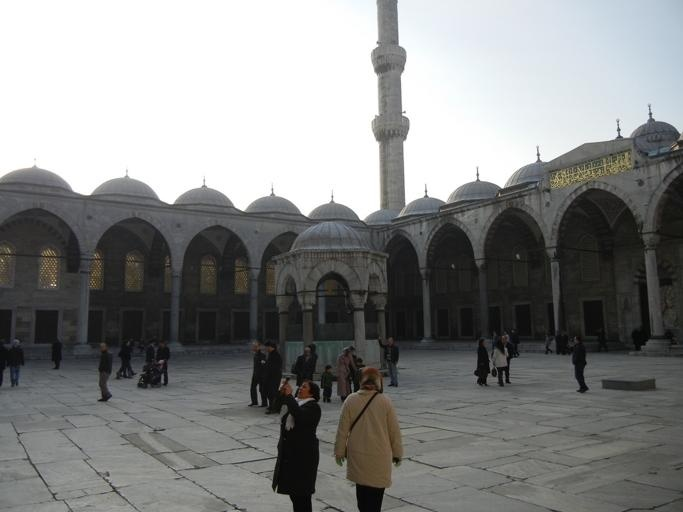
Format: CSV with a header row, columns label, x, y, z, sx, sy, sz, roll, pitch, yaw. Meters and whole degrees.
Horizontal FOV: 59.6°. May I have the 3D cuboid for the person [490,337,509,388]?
label,x,y,z,sx,sy,sz,roll,pitch,yaw
person,3.715,2.438,13.995,0.373,1.101,1.277,-2,-8,15

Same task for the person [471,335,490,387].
label,x,y,z,sx,sy,sz,roll,pitch,yaw
person,3.286,2.471,14.062,0.340,1.054,1.621,-2,-7,13

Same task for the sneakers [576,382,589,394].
label,x,y,z,sx,sy,sz,roll,pitch,yaw
sneakers,4.911,2.694,12.214,0.126,0.245,0.343,-3,-1,-28

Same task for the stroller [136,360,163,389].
label,x,y,z,sx,sy,sz,roll,pitch,yaw
stroller,-4.625,2.863,14.469,0.590,0.705,0.586,-1,-36,3

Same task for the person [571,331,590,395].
label,x,y,z,sx,sy,sz,roll,pitch,yaw
person,5.015,2.255,12.558,0.267,1.122,1.206,-3,-8,22
